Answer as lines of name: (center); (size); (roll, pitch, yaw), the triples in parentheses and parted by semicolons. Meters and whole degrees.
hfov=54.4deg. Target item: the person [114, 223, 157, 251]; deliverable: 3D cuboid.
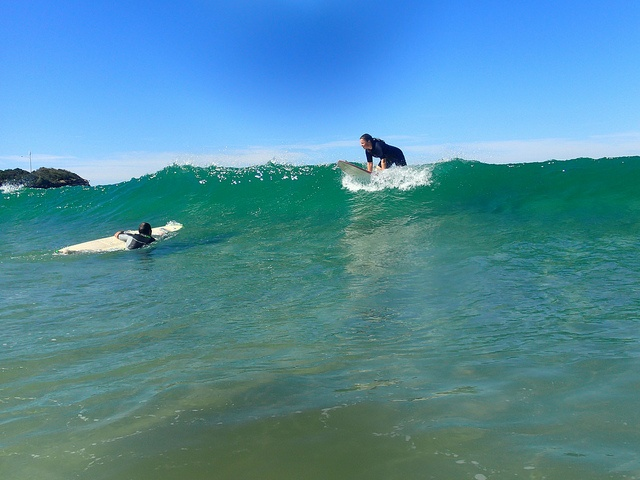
person: (-4.670, -0.108, 15.675); (0.841, 0.607, 0.803); (-6, 7, -13)

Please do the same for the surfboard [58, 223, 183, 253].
surfboard: (-5.031, 0.050, 16.374); (0.836, 0.240, 3.281); (9, 15, 40)

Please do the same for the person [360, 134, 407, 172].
person: (1.875, -2.564, 18.188); (1.145, 0.965, 1.178); (-3, 7, 10)
